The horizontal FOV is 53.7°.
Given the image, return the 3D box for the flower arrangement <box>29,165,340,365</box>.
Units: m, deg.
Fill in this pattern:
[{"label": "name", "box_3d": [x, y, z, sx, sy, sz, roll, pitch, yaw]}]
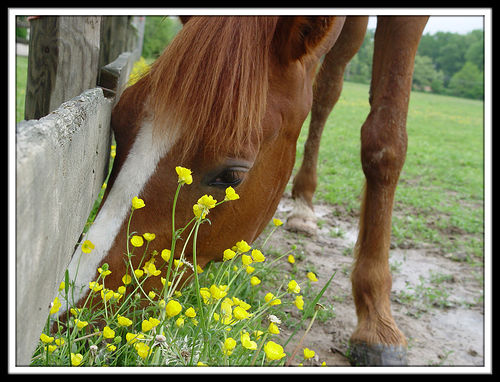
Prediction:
[{"label": "flower arrangement", "box_3d": [-0.253, 0.543, 2.219, 1.050, 1.103, 0.472, 24, -34, -23]}]
